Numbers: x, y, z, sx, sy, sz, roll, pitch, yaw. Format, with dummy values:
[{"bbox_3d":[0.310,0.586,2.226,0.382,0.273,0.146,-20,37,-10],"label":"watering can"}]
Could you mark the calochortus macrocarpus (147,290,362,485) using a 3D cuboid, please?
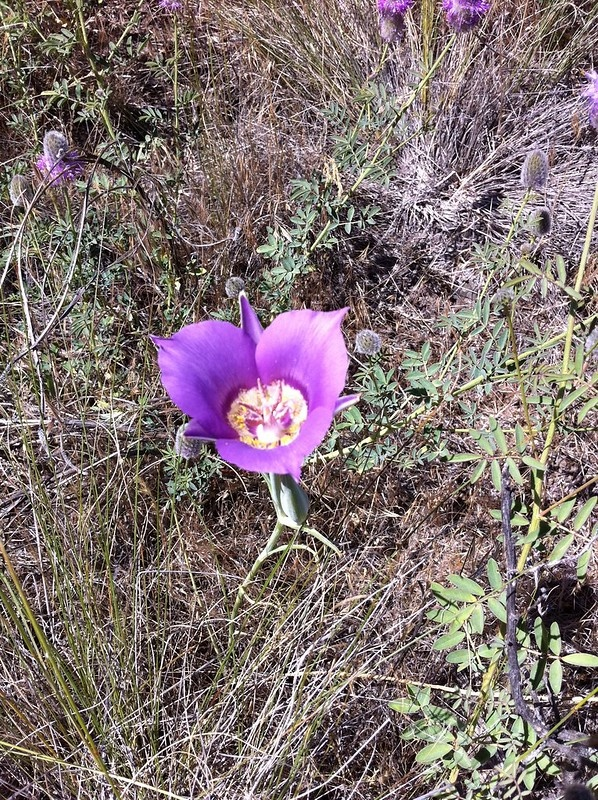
[{"bbox_3d":[-0.080,-0.026,1.630,0.431,0.248,0.468,-41,47,-7],"label":"calochortus macrocarpus"}]
